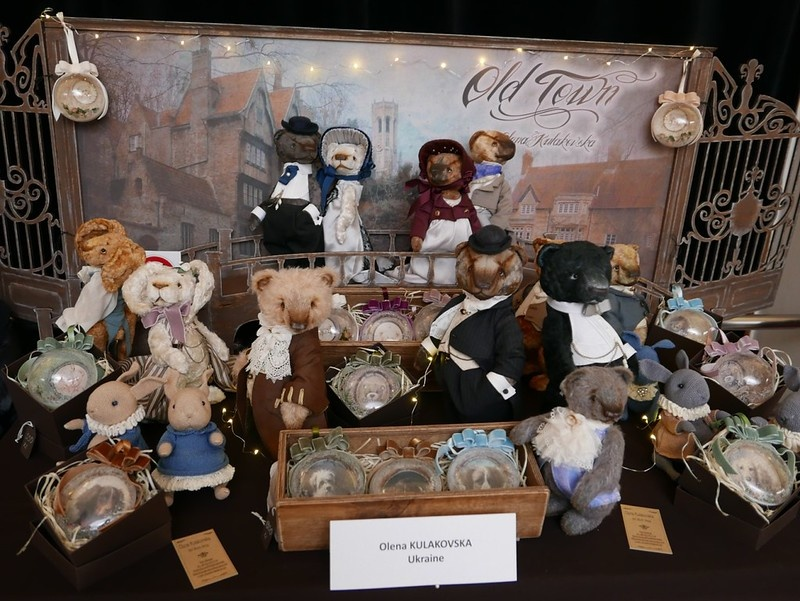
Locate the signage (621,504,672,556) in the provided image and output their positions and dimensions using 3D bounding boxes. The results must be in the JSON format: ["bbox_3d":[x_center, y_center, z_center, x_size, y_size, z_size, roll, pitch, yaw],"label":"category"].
[{"bbox_3d":[1.138,1.079,2.921,0.249,0.014,0.317,4,29,2],"label":"signage"}]

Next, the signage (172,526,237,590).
[{"bbox_3d":[-0.858,1.143,2.751,0.200,0.028,0.270,-17,34,-28],"label":"signage"}]
